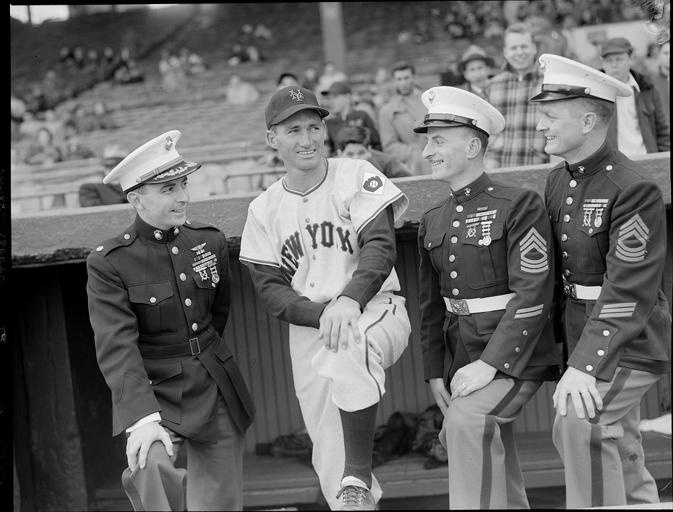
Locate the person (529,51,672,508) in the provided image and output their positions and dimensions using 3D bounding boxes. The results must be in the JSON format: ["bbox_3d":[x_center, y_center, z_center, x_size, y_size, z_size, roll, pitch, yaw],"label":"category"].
[{"bbox_3d":[1.628,0.126,7.077,0.824,2.537,0.426,-7,-3,9],"label":"person"}]

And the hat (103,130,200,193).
[{"bbox_3d":[-1.153,-0.578,7.284,0.480,0.221,0.420,-18,2,32],"label":"hat"}]

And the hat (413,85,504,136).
[{"bbox_3d":[0.812,-0.905,7.293,0.432,0.181,0.349,4,-3,-27],"label":"hat"}]

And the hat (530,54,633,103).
[{"bbox_3d":[1.529,-1.085,7.176,0.435,0.184,0.370,2,9,2],"label":"hat"}]

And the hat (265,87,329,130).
[{"bbox_3d":[-0.273,-0.956,7.264,0.262,0.192,0.332,-13,-4,-20],"label":"hat"}]

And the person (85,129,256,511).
[{"bbox_3d":[-1.025,0.426,7.265,0.917,1.757,0.440,-5,-3,-36],"label":"person"}]

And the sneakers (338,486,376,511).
[{"bbox_3d":[0.129,1.483,7.095,0.246,0.129,0.194,-7,-3,-4],"label":"sneakers"}]
